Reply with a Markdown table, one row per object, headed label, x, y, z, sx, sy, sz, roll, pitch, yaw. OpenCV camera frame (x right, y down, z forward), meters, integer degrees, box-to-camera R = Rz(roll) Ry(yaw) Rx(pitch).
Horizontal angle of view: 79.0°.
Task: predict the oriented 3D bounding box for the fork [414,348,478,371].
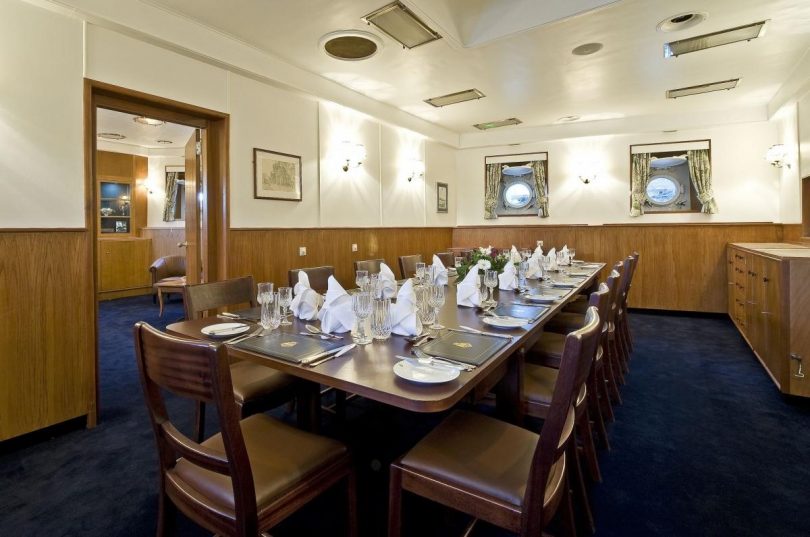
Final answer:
| label | x | y | z | sx | sy | sz | roll | pitch | yaw |
| --- | --- | --- | --- | --- | --- | --- | --- | --- | --- |
| fork | 0.259 | 0.583 | 3.106 | 0.256 | 0.041 | 0.043 | 10 | 30 | 34 |

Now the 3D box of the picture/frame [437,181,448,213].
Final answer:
| label | x | y | z | sx | sy | sz | roll | pitch | yaw |
| --- | --- | --- | --- | --- | --- | --- | --- | --- | --- |
| picture/frame | 0.667 | -1.289 | 8.945 | 0.063 | 0.665 | 0.562 | 0 | 0 | 27 |

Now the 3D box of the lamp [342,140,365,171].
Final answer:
| label | x | y | z | sx | sy | sz | roll | pitch | yaw |
| --- | --- | --- | --- | --- | --- | --- | --- | --- | --- |
| lamp | -0.687 | -1.547 | 6.887 | 0.196 | 0.420 | 0.443 | 1 | 7 | 28 |

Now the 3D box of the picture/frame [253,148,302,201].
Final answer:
| label | x | y | z | sx | sy | sz | roll | pitch | yaw |
| --- | --- | --- | --- | --- | --- | --- | --- | --- | --- |
| picture/frame | -1.575 | -1.133 | 5.957 | 0.060 | 0.580 | 0.629 | 6 | 7 | 37 |

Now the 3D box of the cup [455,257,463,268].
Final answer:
| label | x | y | z | sx | sy | sz | roll | pitch | yaw |
| --- | --- | --- | --- | --- | --- | --- | --- | --- | --- |
| cup | 0.562 | -0.057 | 5.068 | 0.114 | 0.121 | 0.121 | 2 | 0 | 0 |

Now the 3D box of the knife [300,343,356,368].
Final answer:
| label | x | y | z | sx | sy | sz | roll | pitch | yaw |
| --- | --- | --- | --- | --- | --- | --- | --- | --- | --- |
| knife | -0.477 | 0.536 | 3.208 | 0.107 | 0.029 | 0.379 | 10 | 15 | 33 |

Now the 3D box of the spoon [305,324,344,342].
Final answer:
| label | x | y | z | sx | sy | sz | roll | pitch | yaw |
| --- | --- | --- | --- | --- | --- | --- | --- | --- | --- |
| spoon | -0.587 | 0.450 | 3.477 | 0.413 | 0.080 | 0.101 | 6 | 18 | 38 |
